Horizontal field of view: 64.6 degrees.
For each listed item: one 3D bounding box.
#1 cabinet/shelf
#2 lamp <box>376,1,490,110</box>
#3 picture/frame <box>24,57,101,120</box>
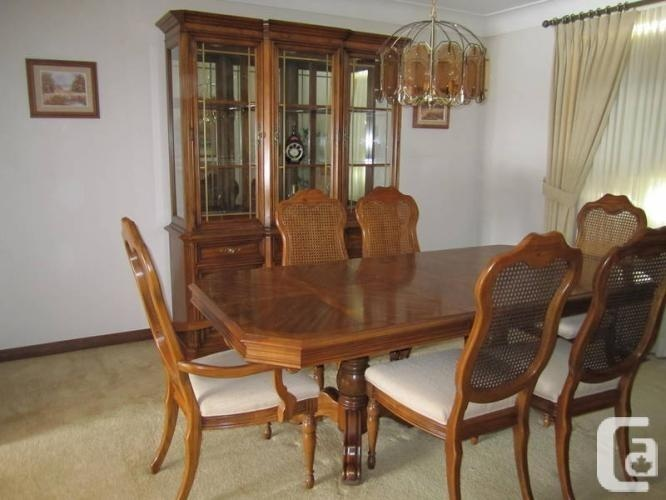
[{"bbox_3d":[-0.313,-0.451,4.565,2.021,2.763,0.644,-4,13,-23],"label":"cabinet/shelf"},{"bbox_3d":[0.671,-1.416,3.744,0.658,0.798,1.792,-1,14,7],"label":"lamp"},{"bbox_3d":[-2.041,-1.214,3.928,0.453,0.426,0.034,-5,10,-30],"label":"picture/frame"}]
